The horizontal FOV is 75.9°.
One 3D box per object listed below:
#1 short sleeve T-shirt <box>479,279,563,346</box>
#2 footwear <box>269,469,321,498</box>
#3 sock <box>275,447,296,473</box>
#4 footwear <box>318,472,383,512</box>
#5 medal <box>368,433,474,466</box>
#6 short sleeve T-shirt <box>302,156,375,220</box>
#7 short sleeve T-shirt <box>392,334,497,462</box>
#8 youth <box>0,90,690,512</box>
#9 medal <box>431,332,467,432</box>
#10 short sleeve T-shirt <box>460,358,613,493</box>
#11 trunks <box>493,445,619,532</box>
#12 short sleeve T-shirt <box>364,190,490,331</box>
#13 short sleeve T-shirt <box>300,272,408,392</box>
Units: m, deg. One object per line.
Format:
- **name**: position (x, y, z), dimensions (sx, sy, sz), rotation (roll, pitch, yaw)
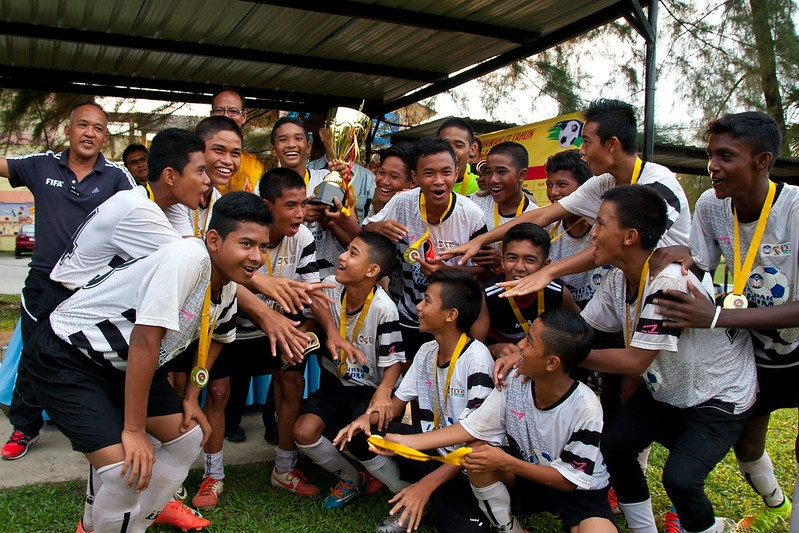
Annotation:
- **short sleeve T-shirt**: position (0.990, 0.281, 4.158), dimensions (0.600, 0.377, 0.704), rotation (-4, -31, 10)
- **footwear**: position (-0.804, 1.662, 3.995), dimensions (0.415, 0.169, 0.151), rotation (16, -5, 6)
- **sock**: position (-0.873, 1.479, 3.915), dimensions (0.145, 0.156, 0.178), rotation (3, -3, -3)
- **footwear**: position (-0.398, 1.700, 3.870), dimensions (0.153, 0.171, 0.423), rotation (-8, 2, 44)
- **medal**: position (0.185, 1.148, 3.332), dimensions (0.750, 0.153, 0.241), rotation (8, -28, -9)
- **short sleeve T-shirt**: position (-0.552, -0.689, 4.636), dimensions (0.672, 0.529, 0.348), rotation (15, 11, 13)
- **short sleeve T-shirt**: position (0.329, 0.935, 3.589), dimensions (0.409, 0.718, 0.748), rotation (23, -2, -41)
- **youth**: position (0.104, -0.546, 4.009), dimensions (3.922, 1.981, 3.020), rotation (-13, 19, -15)
- **medal**: position (0.330, 0.821, 3.640), dimensions (0.141, 0.593, 0.344), rotation (17, -1, -3)
- **short sleeve T-shirt**: position (0.896, 1.045, 3.392), dimensions (0.711, 0.729, 1.008), rotation (-11, 16, -40)
- **trunks**: position (1.025, 1.526, 3.319), dimensions (0.657, 0.546, 0.230), rotation (15, 24, 20)
- **short sleeve T-shirt**: position (0.227, -0.032, 4.075), dimensions (0.967, 1.059, 0.617), rotation (11, 18, 21)
- **short sleeve T-shirt**: position (-0.298, 0.565, 4.243), dimensions (1.072, 0.965, 0.433), rotation (18, 18, 40)
